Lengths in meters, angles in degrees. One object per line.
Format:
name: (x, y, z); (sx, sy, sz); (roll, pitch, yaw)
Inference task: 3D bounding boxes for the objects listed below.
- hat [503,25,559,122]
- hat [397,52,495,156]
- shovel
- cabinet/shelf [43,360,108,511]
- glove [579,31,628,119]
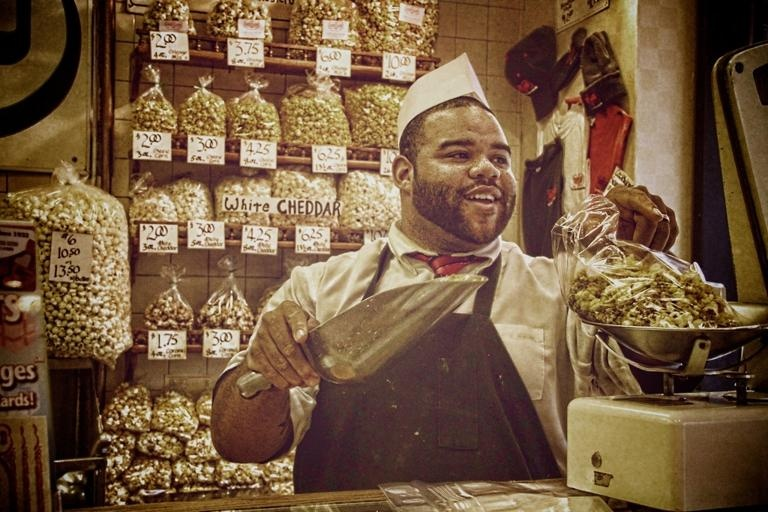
hat: (0.813, -1.011, 4.201); (0.248, 0.499, 0.284); (-18, 15, -7)
hat: (0.220, -0.634, 3.001); (0.352, 0.199, 0.276); (-36, -34, 29)
shovel: (-0.126, 0.259, 2.696); (0.982, 0.268, 0.178); (-30, 38, 4)
cabinet/shelf: (-1.147, 0.671, 2.788); (0.216, 0.621, 0.619); (-1, 1, -15)
glove: (1.072, -0.906, 3.753); (0.101, 0.394, 0.222); (-5, -15, -35)
